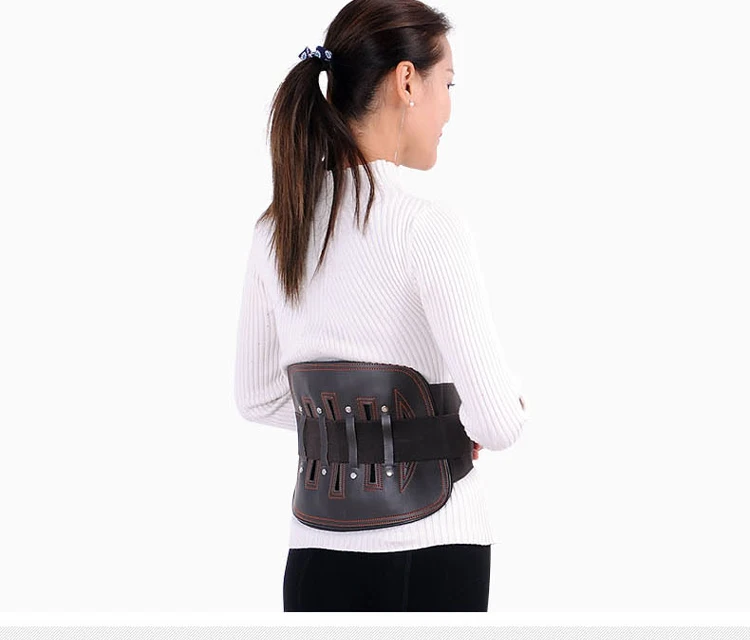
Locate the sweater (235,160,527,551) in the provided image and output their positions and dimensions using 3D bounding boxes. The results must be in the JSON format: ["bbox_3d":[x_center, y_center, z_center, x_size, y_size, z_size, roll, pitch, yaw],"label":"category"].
[{"bbox_3d":[-0.036,-0.005,2.107,0.768,0.687,0.285,-11,-17,35],"label":"sweater"}]

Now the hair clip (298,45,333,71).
[{"bbox_3d":[-0.136,-0.647,2.093,0.070,0.075,0.022,17,17,26],"label":"hair clip"}]

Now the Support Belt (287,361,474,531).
[{"bbox_3d":[0.029,0.299,2.033,0.392,0.353,0.389,-3,-5,40],"label":"Support Belt"}]
